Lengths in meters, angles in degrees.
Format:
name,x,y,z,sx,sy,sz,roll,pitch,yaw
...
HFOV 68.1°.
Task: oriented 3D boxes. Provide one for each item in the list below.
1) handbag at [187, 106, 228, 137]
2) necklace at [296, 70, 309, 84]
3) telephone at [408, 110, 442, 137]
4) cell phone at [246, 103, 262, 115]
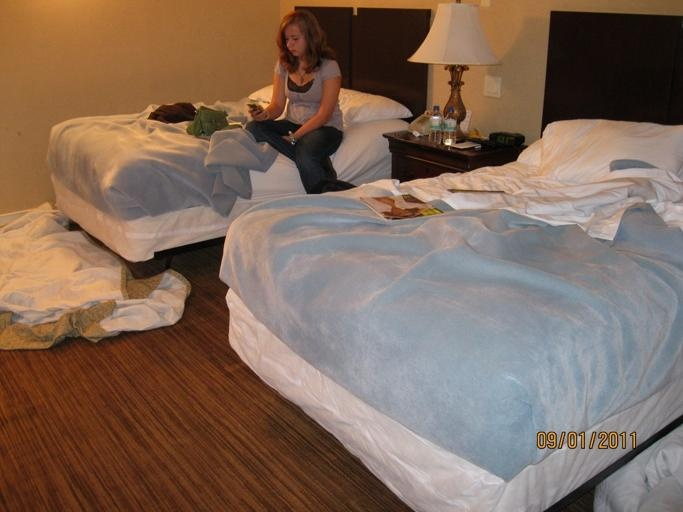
name,x,y,z,sx,sy,sz,roll,pitch,yaw
handbag,-0.933,-0.990,3.681,0.205,0.203,0.297,14,23,34
necklace,-0.289,-1.328,3.774,0.093,0.096,0.023,-7,-1,34
telephone,0.579,-0.942,3.648,0.191,0.059,0.168,-29,43,-28
cell phone,-0.637,-1.068,3.683,0.086,0.030,0.088,-2,19,22
